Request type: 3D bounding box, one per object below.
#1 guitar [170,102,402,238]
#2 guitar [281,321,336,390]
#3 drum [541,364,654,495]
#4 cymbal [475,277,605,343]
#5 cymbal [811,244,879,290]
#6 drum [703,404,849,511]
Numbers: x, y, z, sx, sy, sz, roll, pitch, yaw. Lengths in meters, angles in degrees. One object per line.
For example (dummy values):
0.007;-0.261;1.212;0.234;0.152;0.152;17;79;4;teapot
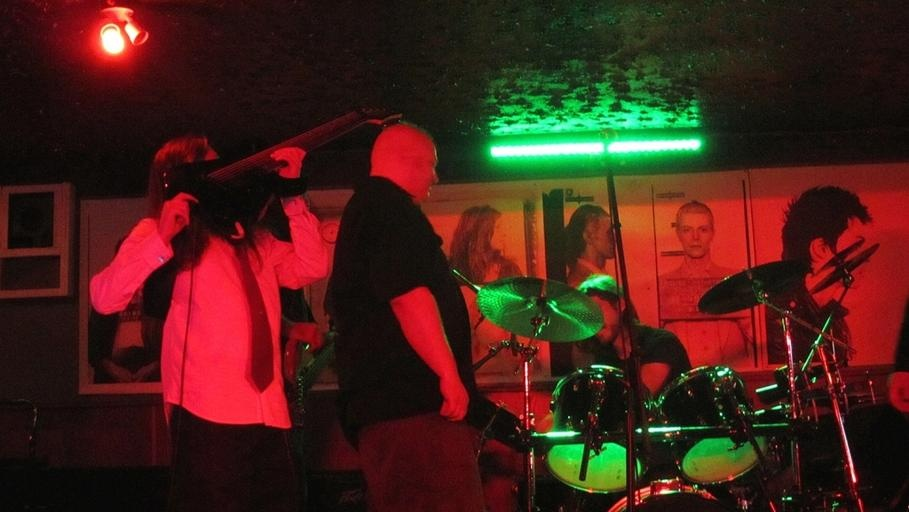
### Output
-1.413;-0.728;7.358;1.791;0.661;0.200;-27;-14;-21;guitar
-1.447;0.925;8.404;0.342;0.275;0.791;-15;-41;-44;guitar
1.530;1.568;9.035;0.948;0.837;0.944;21;-25;-29;drum
0.828;0.517;8.614;0.872;0.191;0.800;-2;-37;17;cymbal
4.419;0.114;9.874;0.788;0.568;0.785;-1;-5;11;cymbal
3.384;1.922;8.947;1.625;1.426;1.023;-2;-9;7;drum
